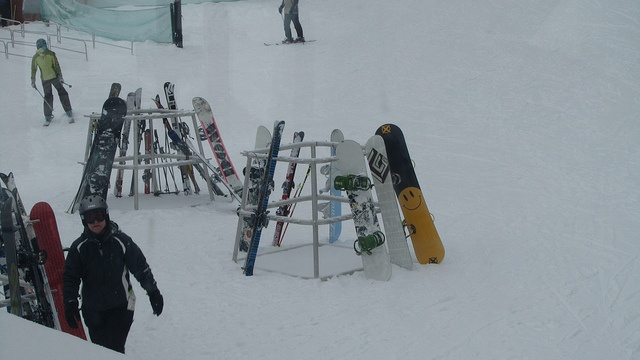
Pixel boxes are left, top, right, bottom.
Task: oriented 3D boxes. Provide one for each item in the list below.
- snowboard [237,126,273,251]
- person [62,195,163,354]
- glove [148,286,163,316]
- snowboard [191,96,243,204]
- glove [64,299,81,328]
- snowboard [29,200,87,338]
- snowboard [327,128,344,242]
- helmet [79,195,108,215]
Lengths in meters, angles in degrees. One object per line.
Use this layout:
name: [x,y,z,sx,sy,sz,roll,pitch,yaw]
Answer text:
snowboard: [-1.699,0.008,14.598,0.498,4.315,0.518,16,21,8]
person: [-3.957,1.828,10.119,1.645,2.928,1.034,-8,18,-15]
glove: [-3.061,2.294,10.264,0.289,0.471,0.147,-2,17,13]
snowboard: [-3.510,-0.905,18.523,0.694,4.678,0.656,-23,-3,0]
glove: [-4.546,2.468,9.976,0.345,0.480,0.148,-3,2,-11]
snowboard: [-5.110,1.832,10.568,0.326,2.751,0.408,-12,-9,20]
snowboard: [0.416,0.166,14.635,0.379,3.048,0.233,2,2,4]
helmet: [-4.210,0.451,10.188,0.344,0.434,0.335,1,1,-13]
